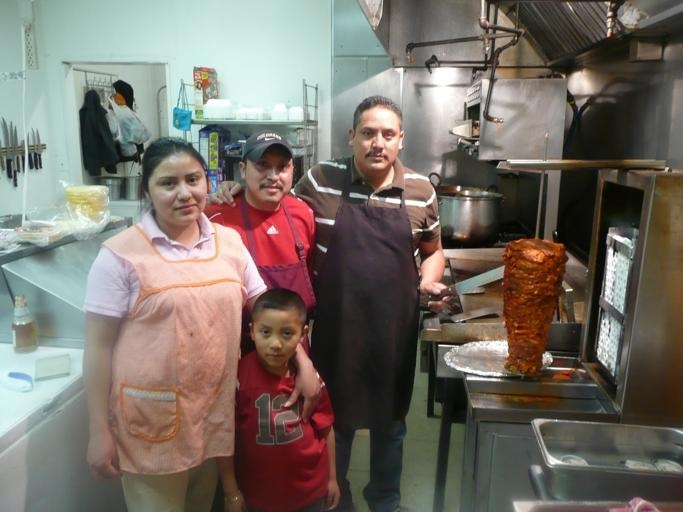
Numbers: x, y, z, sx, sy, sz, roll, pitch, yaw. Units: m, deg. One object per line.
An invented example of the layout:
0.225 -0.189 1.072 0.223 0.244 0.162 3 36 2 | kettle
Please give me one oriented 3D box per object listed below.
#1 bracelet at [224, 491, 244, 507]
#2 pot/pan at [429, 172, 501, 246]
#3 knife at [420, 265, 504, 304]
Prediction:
-0.367 0.836 1.764 0.053 0.048 0.042 -6 2 -35 | bracelet
0.896 -0.361 3.925 0.506 0.466 0.666 -3 7 -17 | pot/pan
0.557 0.139 2.389 0.367 0.031 0.051 -19 52 -9 | knife
